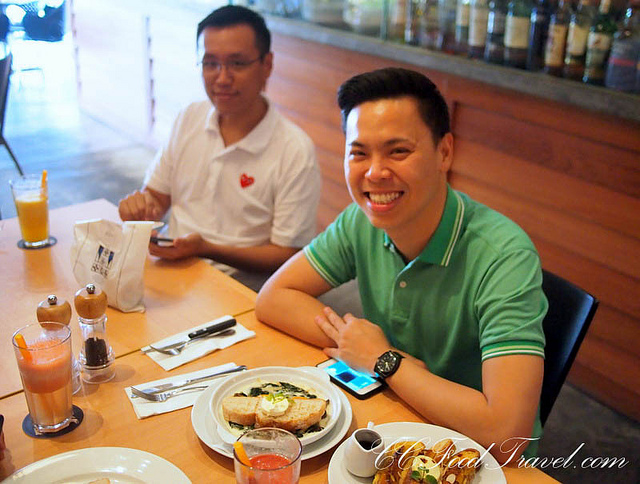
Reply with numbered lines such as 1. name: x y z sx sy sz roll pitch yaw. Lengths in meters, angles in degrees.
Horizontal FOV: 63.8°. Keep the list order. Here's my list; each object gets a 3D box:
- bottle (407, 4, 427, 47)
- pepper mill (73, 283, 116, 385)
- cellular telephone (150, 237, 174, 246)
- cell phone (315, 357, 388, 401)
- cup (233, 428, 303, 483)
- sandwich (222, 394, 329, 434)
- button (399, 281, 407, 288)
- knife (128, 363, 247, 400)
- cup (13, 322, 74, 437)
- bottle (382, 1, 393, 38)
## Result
1. bottle: 0.573 -1.258 2.987 0.025 0.214 0.159 -11 27 -31
2. pepper mill: -0.646 0.260 1.429 0.103 0.262 0.102 1 1 -7
3. cellular telephone: -0.617 0.000 1.992 0.109 0.011 0.061 1 -15 18
4. cell phone: 0.085 0.384 1.451 0.094 0.017 0.131 -19 30 -34
5. cup: -0.102 0.440 1.059 0.116 0.104 0.124 -1 10 0
6. sandwich: -0.106 0.416 1.258 0.216 0.033 0.105 1 14 -5
7. button: 0.251 0.128 1.549 0.019 0.019 0.005 0 -4 15
8. knife: -0.362 0.384 1.394 0.268 0.020 0.028 -8 38 -31
9. cup: -0.671 0.333 1.271 0.122 0.235 0.160 -9 26 -28
10. bottle: 0.411 -1.352 3.123 0.028 0.201 0.101 -8 26 -27
